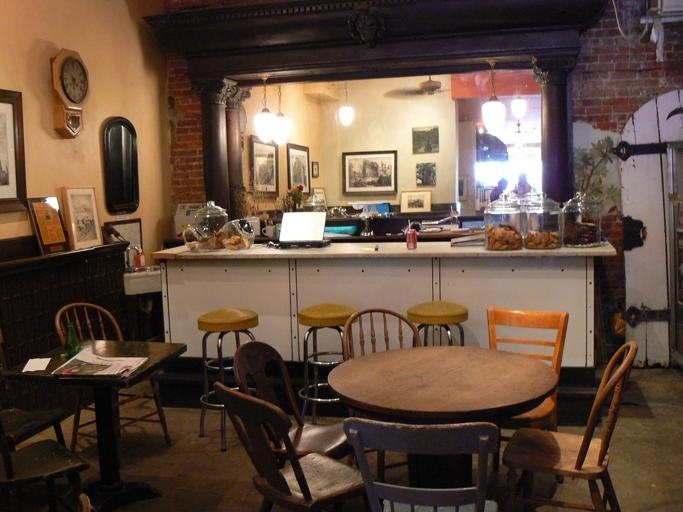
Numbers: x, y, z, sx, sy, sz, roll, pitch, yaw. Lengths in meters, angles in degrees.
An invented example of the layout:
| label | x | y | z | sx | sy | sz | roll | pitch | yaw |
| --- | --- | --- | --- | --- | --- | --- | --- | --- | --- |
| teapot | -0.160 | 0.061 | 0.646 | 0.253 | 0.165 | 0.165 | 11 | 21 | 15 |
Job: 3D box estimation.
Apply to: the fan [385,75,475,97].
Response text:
| label | x | y | z | sx | sy | sz | roll | pitch | yaw |
| --- | --- | --- | --- | --- | --- | --- | --- | --- | --- |
| fan | 1.556 | -3.132 | 10.378 | 0.941 | 0.352 | 1.754 | -4 | 7 | -20 |

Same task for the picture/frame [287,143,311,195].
| label | x | y | z | sx | sy | sz | roll | pitch | yaw |
| --- | --- | --- | --- | --- | --- | --- | --- | --- | --- |
| picture/frame | -0.792 | -1.538 | 10.020 | 0.047 | 0.967 | 1.062 | -1 | 3 | 19 |

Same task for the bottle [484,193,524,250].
| label | x | y | z | sx | sy | sz | roll | pitch | yaw |
| --- | --- | --- | --- | --- | --- | --- | --- | --- | --- |
| bottle | 1.363 | -0.248 | 4.765 | 0.362 | 0.556 | 0.368 | 0 | -1 | 0 |

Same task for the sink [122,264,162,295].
| label | x | y | z | sx | sy | sz | roll | pitch | yaw |
| --- | --- | --- | --- | --- | --- | --- | --- | --- | --- |
| sink | -2.070 | 0.190 | 5.862 | 0.371 | 0.249 | 0.386 | 2 | 6 | 14 |

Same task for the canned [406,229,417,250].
| label | x | y | z | sx | sy | sz | roll | pitch | yaw |
| --- | --- | --- | --- | --- | --- | --- | --- | --- | --- |
| canned | 0.619 | -0.146 | 5.021 | 0.079 | 0.157 | 0.082 | 0 | 6 | 11 |

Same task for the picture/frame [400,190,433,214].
| label | x | y | z | sx | sy | sz | roll | pitch | yaw |
| --- | --- | --- | --- | --- | --- | --- | --- | --- | --- |
| picture/frame | 1.456 | -1.040 | 10.900 | 0.557 | 0.447 | 0.057 | 1 | 3 | 16 |

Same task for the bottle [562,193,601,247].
| label | x | y | z | sx | sy | sz | roll | pitch | yaw |
| --- | --- | --- | --- | --- | --- | --- | --- | --- | --- |
| bottle | 2.029 | -0.315 | 4.788 | 0.295 | 0.445 | 0.240 | 1 | 6 | 22 |

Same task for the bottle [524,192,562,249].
| label | x | y | z | sx | sy | sz | roll | pitch | yaw |
| --- | --- | --- | --- | --- | --- | --- | --- | --- | --- |
| bottle | 1.705 | -0.274 | 4.777 | 0.271 | 0.419 | 0.369 | 3 | 7 | 39 |

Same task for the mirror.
| label | x | y | z | sx | sy | sz | roll | pitch | yaw |
| --- | --- | --- | --- | --- | --- | --- | --- | --- | --- |
| mirror | -2.484 | -1.000 | 6.339 | 0.101 | 1.084 | 0.548 | 0 | 6 | 13 |

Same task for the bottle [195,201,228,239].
| label | x | y | z | sx | sy | sz | roll | pitch | yaw |
| --- | --- | --- | --- | --- | --- | --- | --- | --- | --- |
| bottle | -1.258 | -0.344 | 5.385 | 0.285 | 0.328 | 0.277 | 2 | 7 | 31 |

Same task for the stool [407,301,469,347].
| label | x | y | z | sx | sy | sz | roll | pitch | yaw |
| --- | --- | --- | --- | --- | --- | --- | --- | --- | --- |
| stool | 0.752 | 0.467 | 4.496 | 0.389 | 0.376 | 0.408 | 0 | 6 | 10 |

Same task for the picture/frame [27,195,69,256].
| label | x | y | z | sx | sy | sz | roll | pitch | yaw |
| --- | --- | --- | --- | --- | --- | --- | --- | --- | --- |
| picture/frame | -2.739 | -0.265 | 5.213 | 0.050 | 0.663 | 0.486 | -11 | 3 | 19 |

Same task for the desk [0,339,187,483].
| label | x | y | z | sx | sy | sz | roll | pitch | yaw |
| --- | --- | --- | --- | --- | --- | --- | --- | --- | --- |
| desk | -1.587 | 0.872 | 3.973 | 0.963 | 0.917 | 1.009 | 4 | 14 | 17 |
